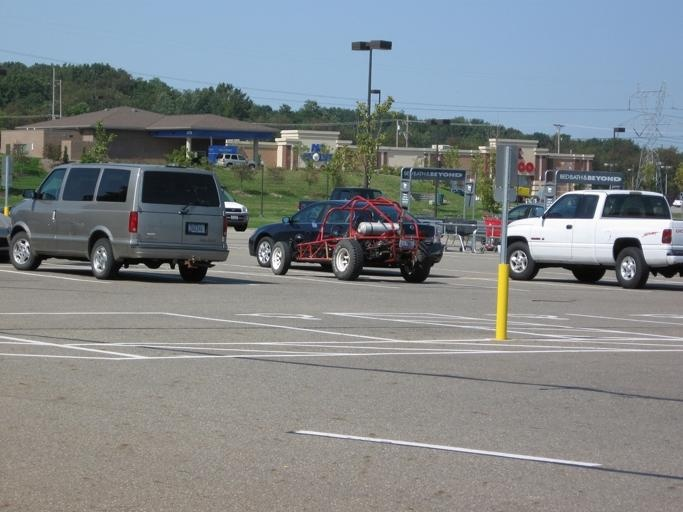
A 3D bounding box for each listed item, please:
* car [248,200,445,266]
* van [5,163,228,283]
[{"bbox_3d":[-0.282,-0.652,23.648,4.490,1.673,2.074,7,5,41],"label":"car"},{"bbox_3d":[-4.792,-0.748,20.240,4.448,2.394,1.683,4,5,28],"label":"van"}]
